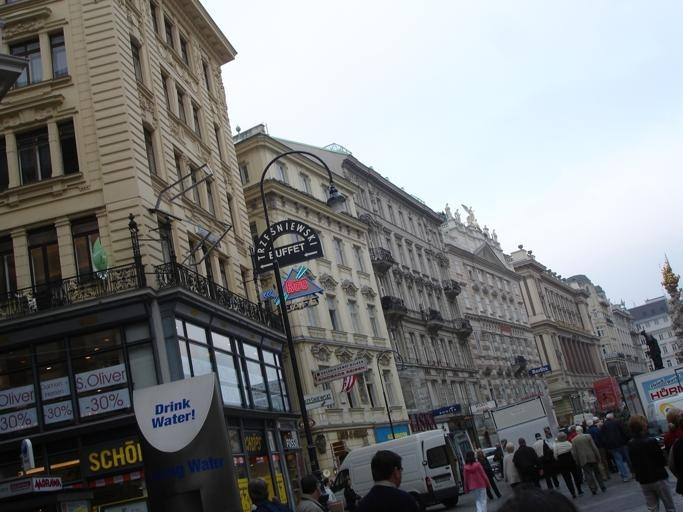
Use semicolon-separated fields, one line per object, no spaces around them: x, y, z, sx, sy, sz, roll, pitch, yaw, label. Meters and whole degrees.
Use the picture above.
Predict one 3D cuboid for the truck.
9.234;9.138;30.292;2.757;2.660;2.266;-14;-43;4;truck
